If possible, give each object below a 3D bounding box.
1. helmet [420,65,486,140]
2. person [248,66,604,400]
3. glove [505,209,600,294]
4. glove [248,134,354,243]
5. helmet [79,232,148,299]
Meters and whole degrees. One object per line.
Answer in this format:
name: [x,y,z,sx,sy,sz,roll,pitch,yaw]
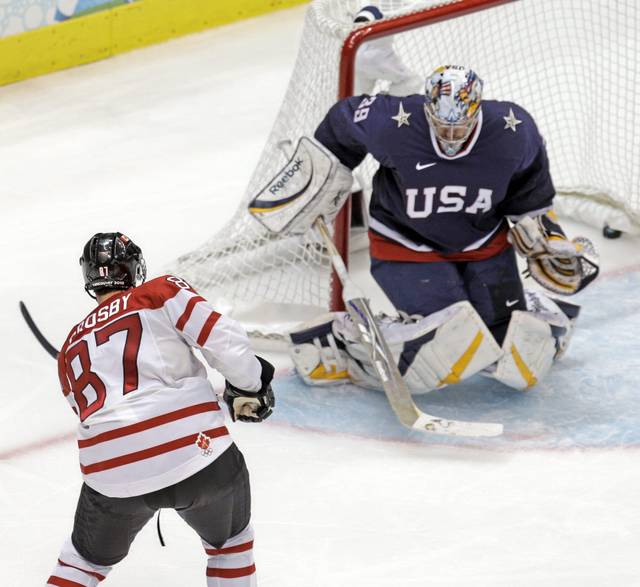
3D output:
helmet: [0.446,-0.607,2.386,0.206,0.228,0.231,1,52,15]
person: [0.364,-0.202,2.739,1.395,1.288,0.805,6,35,11]
glove: [0.888,-0.115,2.715,0.358,0.255,0.170,11,53,47]
glove: [-0.065,-0.378,2.769,0.414,0.294,0.126,-41,-16,22]
helmet: [-0.590,-0.089,2.106,0.194,0.172,0.219,-3,2,-13]
